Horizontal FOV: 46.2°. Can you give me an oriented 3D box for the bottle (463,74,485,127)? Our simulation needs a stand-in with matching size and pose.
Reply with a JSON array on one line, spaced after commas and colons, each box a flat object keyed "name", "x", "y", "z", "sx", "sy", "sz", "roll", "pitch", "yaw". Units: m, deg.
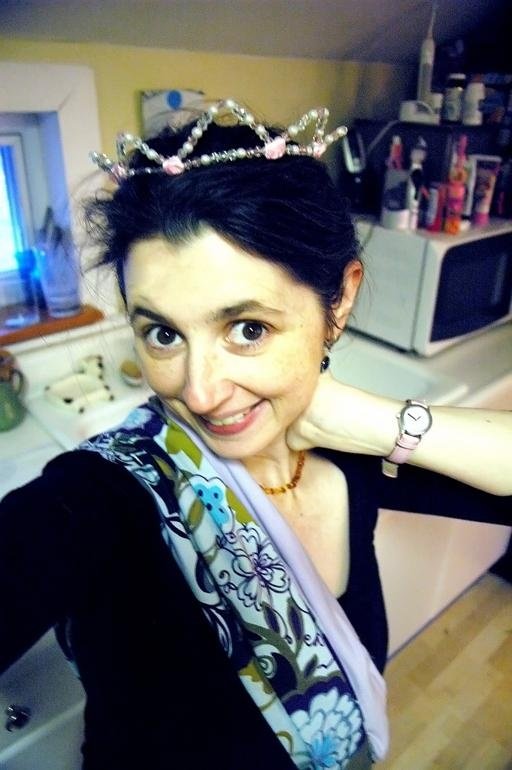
[{"name": "bottle", "x": 0.481, "y": -0.629, "z": 1.322, "sx": 0.056, "sy": 0.097, "sz": 0.024, "roll": 12, "pitch": 28, "yaw": 26}]

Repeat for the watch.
[{"name": "watch", "x": 0.202, "y": 0.069, "z": 0.801, "sx": 0.051, "sy": 0.073, "sz": 0.093, "roll": 33, "pitch": 57, "yaw": 0}]

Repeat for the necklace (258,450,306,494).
[{"name": "necklace", "x": 0.043, "y": 0.111, "z": 0.830, "sx": 0.048, "sy": 0.064, "sz": 0.019, "roll": -2, "pitch": 10, "yaw": -20}]

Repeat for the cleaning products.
[{"name": "cleaning products", "x": -0.408, "y": -0.259, "z": 1.218, "sx": 0.088, "sy": 0.263, "sz": 0.087, "roll": -10, "pitch": 35, "yaw": -18}]
